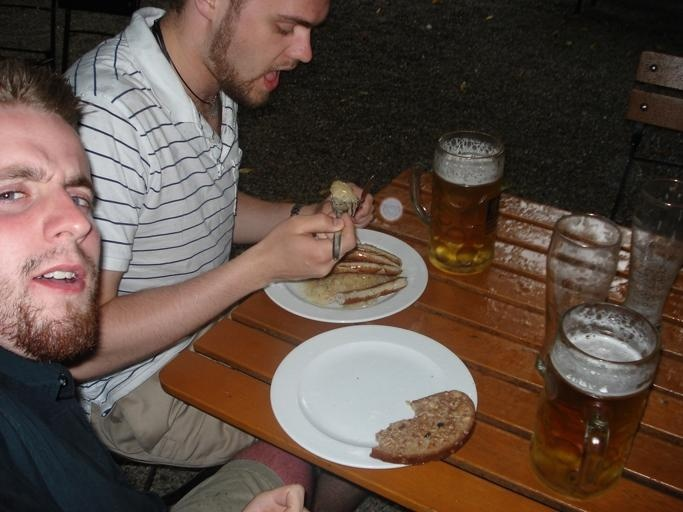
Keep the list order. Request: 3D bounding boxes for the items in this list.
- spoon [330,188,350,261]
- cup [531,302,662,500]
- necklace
[{"bbox_3d":[-0.006,-0.090,1.524,0.059,0.182,0.069,1,3,-12],"label":"spoon"},{"bbox_3d":[0.467,0.285,1.082,0.176,0.371,0.182,2,28,-1],"label":"cup"},{"bbox_3d":[-0.506,-0.578,1.865,0.021,0.266,0.207,-6,57,33],"label":"necklace"}]
